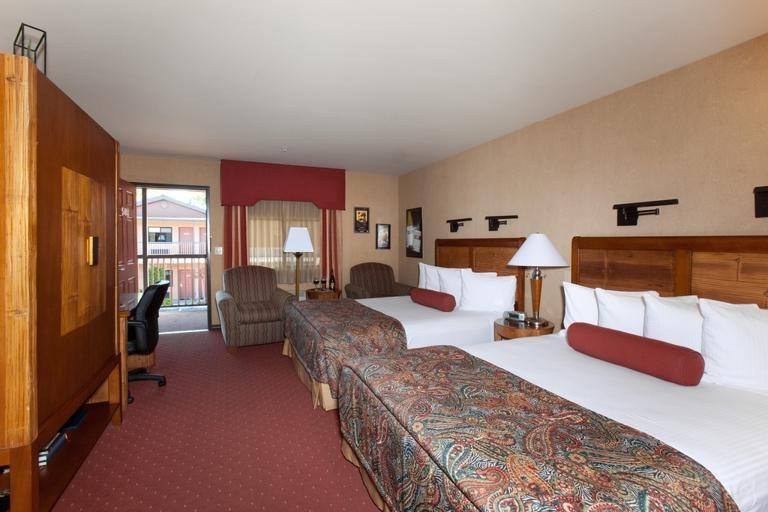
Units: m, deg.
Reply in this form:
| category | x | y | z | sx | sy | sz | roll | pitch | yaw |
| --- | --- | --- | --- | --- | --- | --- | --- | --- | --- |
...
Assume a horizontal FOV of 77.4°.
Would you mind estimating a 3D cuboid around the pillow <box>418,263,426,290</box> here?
| category | x | y | z | sx | sy | sz | roll | pitch | yaw |
| --- | --- | --- | --- | --- | --- | --- | --- | --- | --- |
| pillow | 0.554 | 0.284 | 6.828 | 0.052 | 0.402 | 0.334 | -3 | 4 | -20 |

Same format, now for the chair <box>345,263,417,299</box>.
| category | x | y | z | sx | sy | sz | roll | pitch | yaw |
| --- | --- | --- | --- | --- | --- | --- | --- | --- | --- |
| chair | -0.171 | 0.384 | 8.202 | 0.731 | 0.917 | 0.729 | 0 | -6 | -18 |

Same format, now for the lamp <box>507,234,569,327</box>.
| category | x | y | z | sx | sy | sz | roll | pitch | yaw |
| --- | --- | --- | --- | --- | --- | --- | --- | --- | --- |
| lamp | 1.671 | 0.312 | 5.226 | 0.557 | 0.917 | 0.583 | -1 | -11 | 30 |

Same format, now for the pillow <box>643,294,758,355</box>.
| category | x | y | z | sx | sy | sz | roll | pitch | yaw |
| --- | --- | --- | --- | --- | --- | --- | --- | --- | --- |
| pillow | 2.526 | 0.547 | 3.792 | 0.376 | 0.360 | 0.135 | 7 | -10 | 20 |

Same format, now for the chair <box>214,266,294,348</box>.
| category | x | y | z | sx | sy | sz | roll | pitch | yaw |
| --- | --- | --- | --- | --- | --- | --- | --- | --- | --- |
| chair | -1.942 | 0.718 | 7.117 | 1.228 | 1.145 | 1.109 | -3 | 5 | -39 |
